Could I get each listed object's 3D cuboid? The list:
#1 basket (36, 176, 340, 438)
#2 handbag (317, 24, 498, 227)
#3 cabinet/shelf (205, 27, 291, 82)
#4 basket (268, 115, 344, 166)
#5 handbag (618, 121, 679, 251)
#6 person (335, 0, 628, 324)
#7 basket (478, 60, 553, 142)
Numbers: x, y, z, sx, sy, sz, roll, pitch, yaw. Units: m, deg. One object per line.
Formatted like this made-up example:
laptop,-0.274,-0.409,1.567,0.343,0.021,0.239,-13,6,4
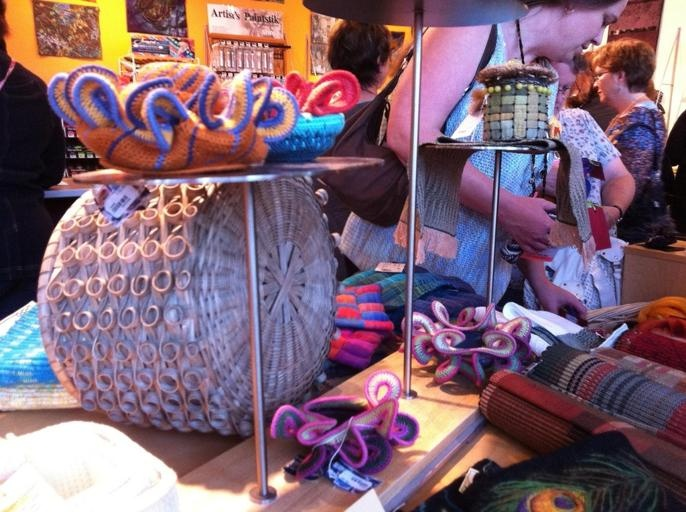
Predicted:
basket,-0.261,0.093,0.893,0.503,0.450,0.288,-2,17,-3
handbag,0.073,-0.428,1.642,0.420,0.242,0.268,27,-35,-26
cabinet/shelf,-0.875,-1.847,4.710,0.665,0.268,0.225,-4,23,-20
basket,-0.070,-0.185,0.771,0.133,0.067,0.143,7,19,18
handbag,1.420,-0.315,2.412,0.322,0.687,0.263,-6,13,-44
person,0.431,-0.223,1.481,0.739,0.947,0.603,-6,17,-14
basket,0.353,-0.318,1.035,0.141,0.152,0.149,3,10,20
